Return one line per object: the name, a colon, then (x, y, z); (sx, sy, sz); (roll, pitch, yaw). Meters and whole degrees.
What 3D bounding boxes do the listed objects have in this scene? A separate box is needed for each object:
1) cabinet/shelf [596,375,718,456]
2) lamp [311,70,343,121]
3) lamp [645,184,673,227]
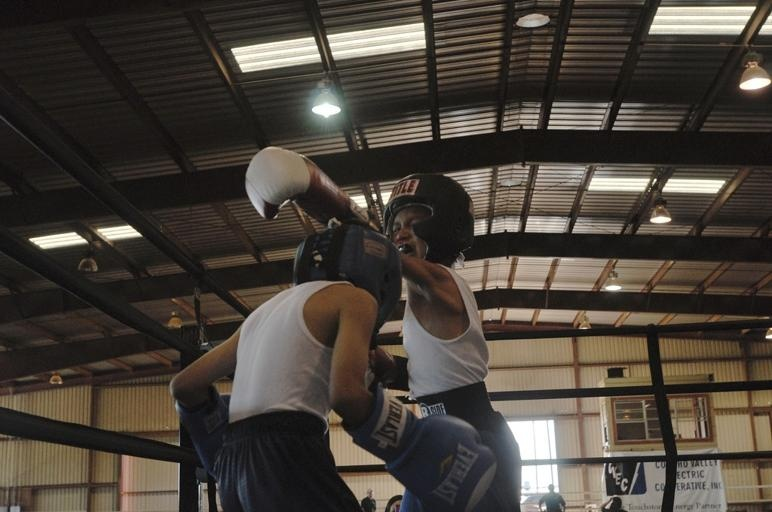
cabinet/shelf: (7.488, 4.327, 19.907); (2.699, 1.690, 1.463); (-7, -5, 23)
lamp: (-1.086, -2.740, 12.611); (0.658, 0.866, 0.639); (3, -12, -14)
lamp: (5.810, -1.110, 15.464); (0.567, 0.715, 0.563); (-8, 13, -4)
